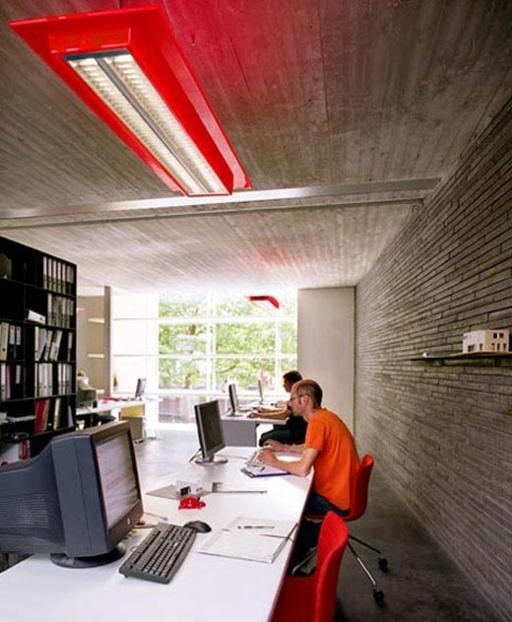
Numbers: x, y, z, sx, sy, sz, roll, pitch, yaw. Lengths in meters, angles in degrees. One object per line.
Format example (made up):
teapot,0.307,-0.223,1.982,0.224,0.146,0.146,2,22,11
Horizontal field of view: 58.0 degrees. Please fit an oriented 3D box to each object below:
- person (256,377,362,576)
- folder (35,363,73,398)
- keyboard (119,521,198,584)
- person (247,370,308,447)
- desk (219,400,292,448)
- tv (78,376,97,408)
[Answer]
person,0.298,1.091,2.954,0.707,1.183,0.542,6,-8,26
folder,-2.179,0.739,4.950,0.248,0.403,0.445,-2,3,1
keyboard,-0.310,0.807,1.553,0.165,0.045,0.293,3,4,11
person,0.291,1.430,5.915,0.749,1.225,0.558,4,-7,-2
desk,0.059,1.492,5.991,0.952,0.522,0.913,0,-5,10
tv,-2.509,1.219,6.810,0.235,0.366,0.511,3,-8,-32
